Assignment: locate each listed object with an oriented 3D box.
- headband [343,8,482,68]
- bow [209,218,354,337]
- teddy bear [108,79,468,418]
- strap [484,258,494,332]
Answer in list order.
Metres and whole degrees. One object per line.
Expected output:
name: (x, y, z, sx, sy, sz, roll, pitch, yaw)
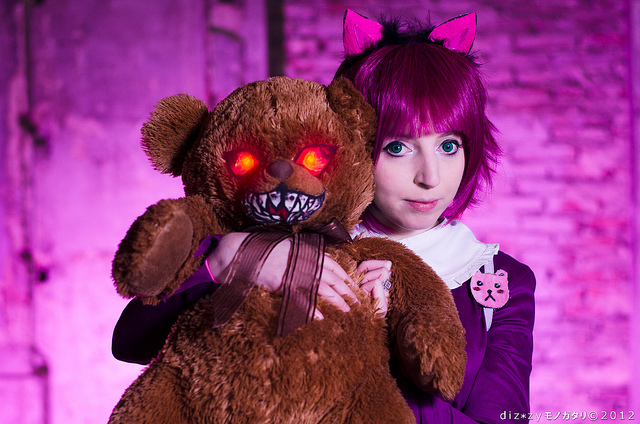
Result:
headband: (0.348, -0.685, 2.915, 0.510, 0.236, 0.103, 5, 1, -4)
bow: (-0.141, 0.203, 2.594, 0.469, 0.387, 0.421, -5, 9, -10)
teddy bear: (-0.118, 0.206, 3.056, 1.522, 1.662, 1.070, 0, 1, 0)
strap: (0.660, 0.328, 2.937, 0.047, 0.283, 0.104, 5, 1, 13)
